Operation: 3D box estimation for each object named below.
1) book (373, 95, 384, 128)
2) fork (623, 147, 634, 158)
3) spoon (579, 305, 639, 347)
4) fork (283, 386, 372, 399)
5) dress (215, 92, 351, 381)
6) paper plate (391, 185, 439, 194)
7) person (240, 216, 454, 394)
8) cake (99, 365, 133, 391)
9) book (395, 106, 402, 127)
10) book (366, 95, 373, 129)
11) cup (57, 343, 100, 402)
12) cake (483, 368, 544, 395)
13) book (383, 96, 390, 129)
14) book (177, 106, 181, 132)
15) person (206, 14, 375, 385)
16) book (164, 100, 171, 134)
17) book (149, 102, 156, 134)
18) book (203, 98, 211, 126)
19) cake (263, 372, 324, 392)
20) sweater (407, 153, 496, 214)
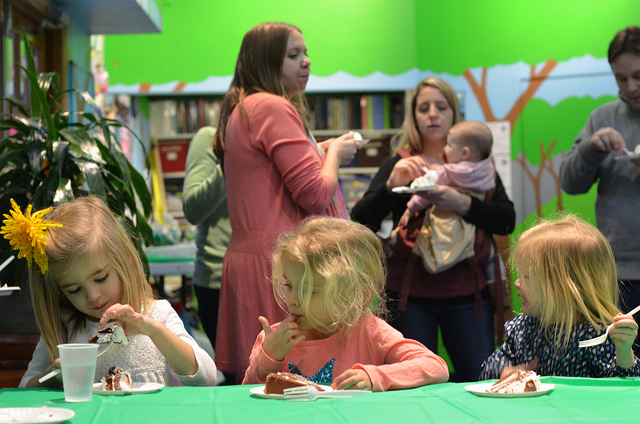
[{"bbox_3d":[0.589,-1.023,7.320,0.111,0.330,0.050,-3,3,-1],"label":"book"},{"bbox_3d":[1.563,-0.298,3.618,0.069,0.021,0.016,44,19,2],"label":"fork"},{"bbox_3d":[1.118,0.445,2.782,0.042,0.284,0.035,36,18,-31],"label":"spoon"},{"bbox_3d":[0.023,0.643,2.573,0.322,0.019,0.094,1,9,-6],"label":"fork"},{"bbox_3d":[-0.225,0.094,3.205,0.574,1.257,0.186,-3,3,2],"label":"dress"},{"bbox_3d":[0.461,-0.112,3.550,0.223,0.036,0.168,-2,2,42],"label":"paper plate"},{"bbox_3d":[0.092,0.397,3.003,0.566,0.835,0.390,-9,-15,20],"label":"person"},{"bbox_3d":[-0.794,0.639,2.741,0.085,0.045,0.116,3,-1,-15],"label":"cake"},{"bbox_3d":[0.798,-0.972,7.320,0.080,0.210,0.049,-2,3,10],"label":"book"},{"bbox_3d":[0.505,-1.020,7.328,0.061,0.341,0.048,-2,3,4],"label":"book"},{"bbox_3d":[-0.884,0.580,2.590,0.166,0.217,0.173,-1,-13,0],"label":"cup"},{"bbox_3d":[0.711,0.627,2.637,0.147,0.065,0.112,-11,-6,6],"label":"cake"},{"bbox_3d":[0.675,-1.015,7.317,0.060,0.321,0.055,-2,3,5],"label":"book"},{"bbox_3d":[-1.497,-0.965,7.495,0.032,0.260,0.018,-3,3,-7],"label":"book"},{"bbox_3d":[-0.197,0.181,3.492,0.751,1.980,0.722,-8,9,-30],"label":"person"},{"bbox_3d":[-1.620,-0.989,7.499,0.083,0.346,0.041,-3,3,-10],"label":"book"},{"bbox_3d":[-1.772,-0.980,7.504,0.069,0.327,0.032,-2,3,5],"label":"book"},{"bbox_3d":[-1.191,-1.041,7.423,0.070,0.281,0.096,-3,3,-9],"label":"book"},{"bbox_3d":[-0.119,0.615,2.621,0.133,0.050,0.092,1,-1,5],"label":"cake"},{"bbox_3d":[0.673,-0.154,3.658,0.361,0.147,0.260,-17,37,20],"label":"sweater"}]
